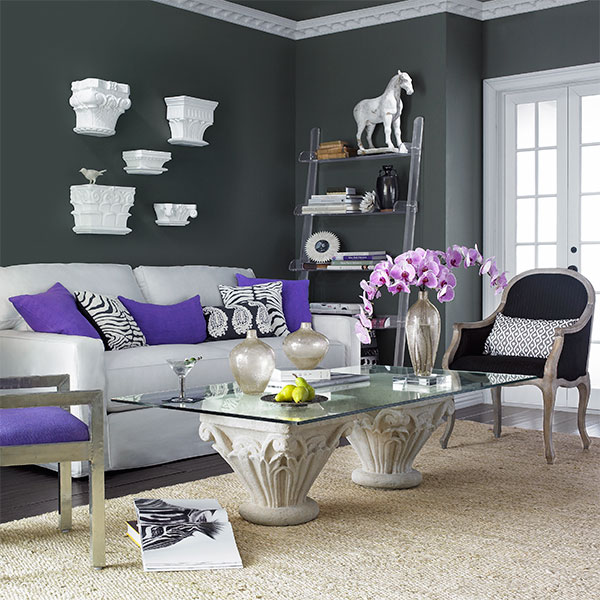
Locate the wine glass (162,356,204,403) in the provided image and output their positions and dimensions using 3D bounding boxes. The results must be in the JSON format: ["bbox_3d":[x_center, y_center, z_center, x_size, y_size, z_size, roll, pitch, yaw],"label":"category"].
[{"bbox_3d":[-0.437,0.295,2.184,0.133,0.132,0.127,2,-12,-34],"label":"wine glass"}]

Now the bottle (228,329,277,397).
[{"bbox_3d":[-0.183,0.229,2.261,0.197,0.228,0.188,0,5,27],"label":"bottle"}]

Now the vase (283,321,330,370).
[{"bbox_3d":[0.024,0.198,2.613,0.241,0.196,0.200,-3,7,-7],"label":"vase"}]

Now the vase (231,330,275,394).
[{"bbox_3d":[-0.182,0.229,2.253,0.186,0.218,0.171,3,9,23],"label":"vase"}]

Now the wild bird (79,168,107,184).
[{"bbox_3d":[-1.401,-0.844,3.978,0.169,0.134,0.198,1,-4,-18],"label":"wild bird"}]

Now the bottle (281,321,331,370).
[{"bbox_3d":[0.029,0.194,2.618,0.243,0.202,0.216,-8,12,-35],"label":"bottle"}]

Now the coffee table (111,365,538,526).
[{"bbox_3d":[0.178,0.610,2.402,1.449,0.369,0.810,1,-10,-42],"label":"coffee table"}]

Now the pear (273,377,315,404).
[{"bbox_3d":[-0.026,0.294,1.997,0.104,0.044,0.100,-10,3,-16],"label":"pear"}]

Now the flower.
[{"bbox_3d":[0.516,0.056,2.654,0.660,0.531,0.567,5,-8,-35],"label":"flower"}]

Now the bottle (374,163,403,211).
[{"bbox_3d":[0.716,-0.921,4.801,0.188,0.393,0.191,0,-4,0],"label":"bottle"}]
